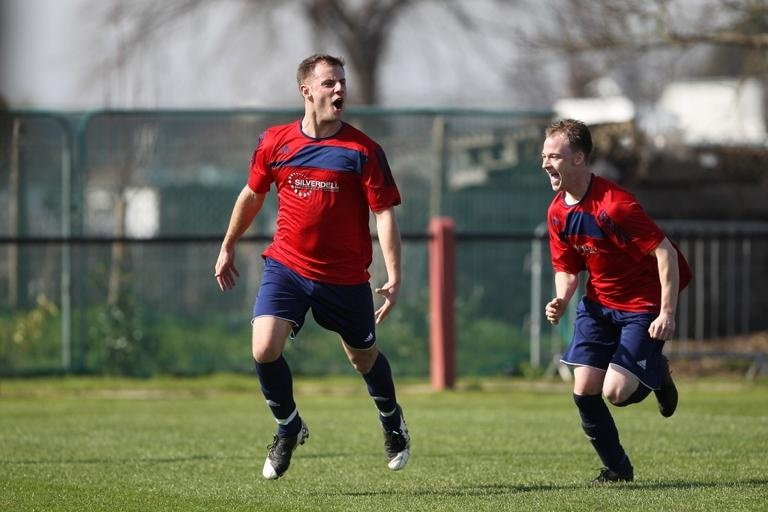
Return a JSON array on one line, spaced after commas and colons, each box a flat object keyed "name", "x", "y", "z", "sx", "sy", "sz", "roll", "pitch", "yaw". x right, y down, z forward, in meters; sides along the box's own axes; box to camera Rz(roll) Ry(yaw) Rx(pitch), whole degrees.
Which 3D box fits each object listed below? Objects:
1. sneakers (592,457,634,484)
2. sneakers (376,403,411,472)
[{"name": "sneakers", "x": 2.136, "y": 2.028, "z": 14.528, "sx": 0.470, "sy": 0.187, "sz": 0.157, "roll": 1, "pitch": -5, "yaw": -1}, {"name": "sneakers", "x": 0.114, "y": 1.723, "z": 14.681, "sx": 0.218, "sy": 0.643, "sz": 0.294, "roll": -9, "pitch": 6, "yaw": 11}]
